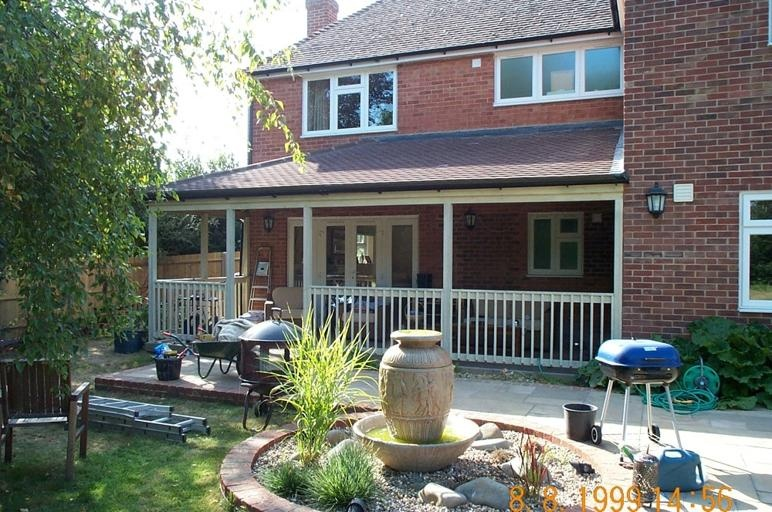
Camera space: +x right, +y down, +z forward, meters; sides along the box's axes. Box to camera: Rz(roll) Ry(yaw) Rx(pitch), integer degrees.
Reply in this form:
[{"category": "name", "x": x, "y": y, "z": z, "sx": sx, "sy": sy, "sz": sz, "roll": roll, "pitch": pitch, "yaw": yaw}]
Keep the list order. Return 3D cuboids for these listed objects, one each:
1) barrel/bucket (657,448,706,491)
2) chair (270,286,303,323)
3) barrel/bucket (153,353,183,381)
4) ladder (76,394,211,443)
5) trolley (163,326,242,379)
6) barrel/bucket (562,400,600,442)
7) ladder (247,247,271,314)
[{"category": "barrel/bucket", "x": 3.364, "y": 2.409, "z": 7.344, "sx": 0.475, "sy": 0.393, "sz": 0.494, "roll": -1, "pitch": -4, "yaw": 0}, {"category": "chair", "x": -2.377, "y": 1.154, "z": 15.381, "sx": 0.701, "sy": 0.757, "sz": 1.238, "roll": 2, "pitch": -1, "yaw": -13}, {"category": "barrel/bucket", "x": -3.742, "y": 1.913, "z": 10.913, "sx": 0.418, "sy": 0.328, "sz": 0.436, "roll": 0, "pitch": -10, "yaw": 0}, {"category": "ladder", "x": -3.349, "y": 2.293, "z": 9.066, "sx": 2.137, "sy": 0.313, "sz": 0.430, "roll": 6, "pitch": 8, "yaw": 17}, {"category": "trolley", "x": -2.998, "y": 1.682, "z": 10.846, "sx": 1.506, "sy": 0.675, "sz": 0.690, "roll": -3, "pitch": -5, "yaw": 9}, {"category": "barrel/bucket", "x": 2.548, "y": 2.168, "z": 8.365, "sx": 0.407, "sy": 0.345, "sz": 0.456, "roll": -1, "pitch": -3, "yaw": 3}, {"category": "ladder", "x": -3.288, "y": 0.586, "z": 16.666, "sx": 0.618, "sy": 1.595, "sz": 0.422, "roll": 2, "pitch": -1, "yaw": 8}]
